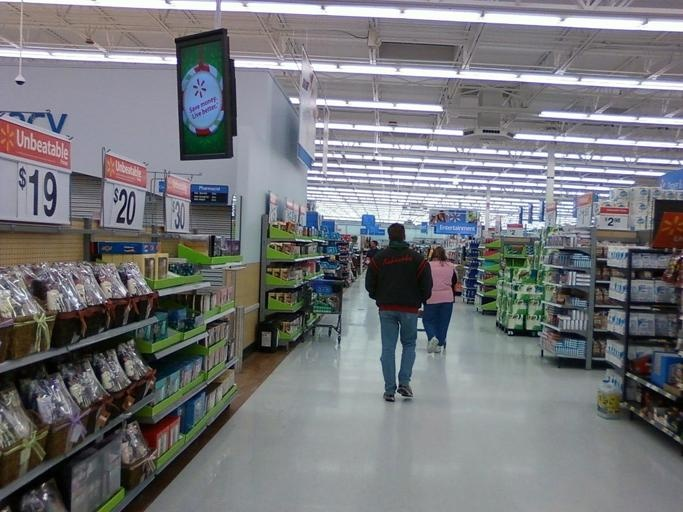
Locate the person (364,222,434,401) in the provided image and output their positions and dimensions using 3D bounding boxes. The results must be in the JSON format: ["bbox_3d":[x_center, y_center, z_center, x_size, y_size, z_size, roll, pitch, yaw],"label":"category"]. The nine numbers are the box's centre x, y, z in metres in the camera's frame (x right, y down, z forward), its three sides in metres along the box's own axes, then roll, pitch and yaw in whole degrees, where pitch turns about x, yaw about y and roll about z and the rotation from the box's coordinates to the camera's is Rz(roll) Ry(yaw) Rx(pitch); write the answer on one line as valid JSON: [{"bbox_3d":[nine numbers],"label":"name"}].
[{"bbox_3d":[0.671,0.631,5.885,0.779,2.027,0.557,2,4,7],"label":"person"}]

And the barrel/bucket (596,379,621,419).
[{"bbox_3d":[3.013,1.605,5.636,0.228,0.409,0.248,8,-5,1],"label":"barrel/bucket"}]
